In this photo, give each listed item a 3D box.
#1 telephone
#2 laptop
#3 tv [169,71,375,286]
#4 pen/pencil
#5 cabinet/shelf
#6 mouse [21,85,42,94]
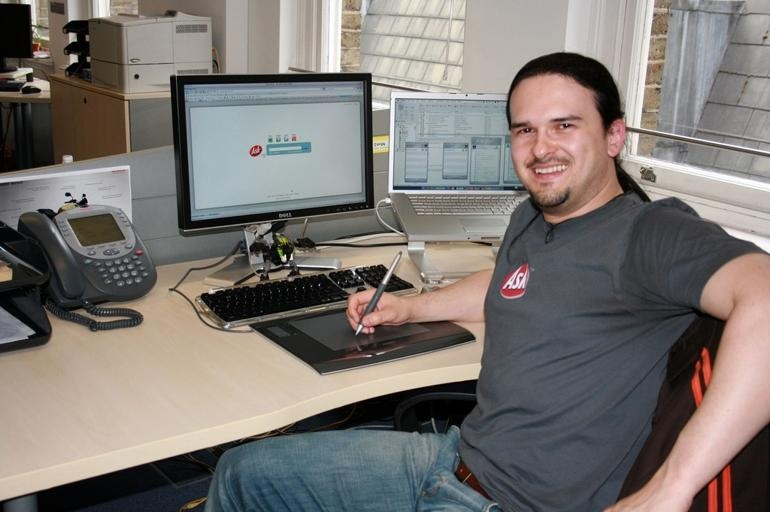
[{"bbox_3d":[-0.859,-0.014,1.667,0.279,0.136,0.355,-22,64,-46],"label":"telephone"},{"bbox_3d":[0.315,-0.323,2.007,0.579,0.365,0.467,1,31,-10],"label":"laptop"},{"bbox_3d":[-0.387,-0.264,1.880,0.771,0.499,0.090,-8,15,-29],"label":"tv"},{"bbox_3d":[-0.019,0.120,1.713,0.030,0.265,0.028,35,-12,-20],"label":"pen/pencil"},{"bbox_3d":[-1.698,-0.885,3.552,0.323,0.795,0.909,-10,20,-37],"label":"cabinet/shelf"},{"bbox_3d":[-2.851,-1.334,4.566,0.156,0.047,0.083,-6,17,-25],"label":"mouse"}]
